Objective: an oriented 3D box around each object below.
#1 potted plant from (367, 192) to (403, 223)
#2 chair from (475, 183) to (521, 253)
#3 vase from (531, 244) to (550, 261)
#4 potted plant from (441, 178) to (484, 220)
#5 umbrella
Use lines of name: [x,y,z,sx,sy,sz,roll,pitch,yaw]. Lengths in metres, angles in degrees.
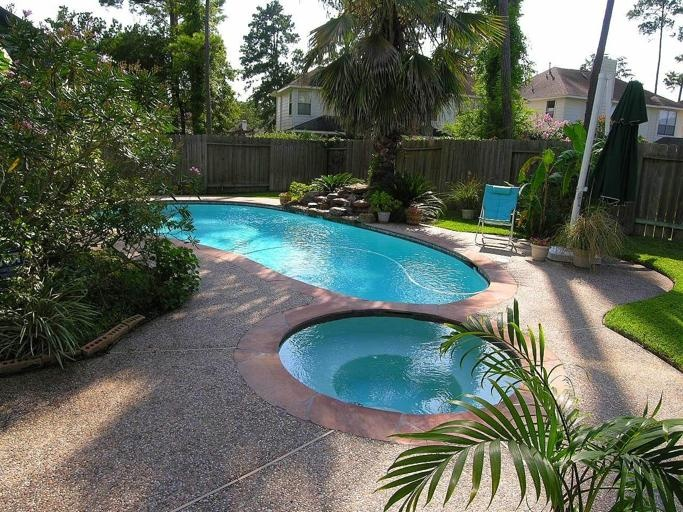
potted plant: [1.051,-1.288,10.897,0.795,0.798,0.724,-4,22,-15]
chair: [3.204,-0.841,8.855,0.804,1.149,0.904,6,10,3]
vase: [3.359,-0.065,7.284,0.270,0.207,0.269,1,8,0]
potted plant: [3.268,-1.634,11.800,1.090,1.107,1.080,14,21,36]
umbrella: [4.403,-1.792,6.821,0.618,1.853,0.407,7,13,31]
